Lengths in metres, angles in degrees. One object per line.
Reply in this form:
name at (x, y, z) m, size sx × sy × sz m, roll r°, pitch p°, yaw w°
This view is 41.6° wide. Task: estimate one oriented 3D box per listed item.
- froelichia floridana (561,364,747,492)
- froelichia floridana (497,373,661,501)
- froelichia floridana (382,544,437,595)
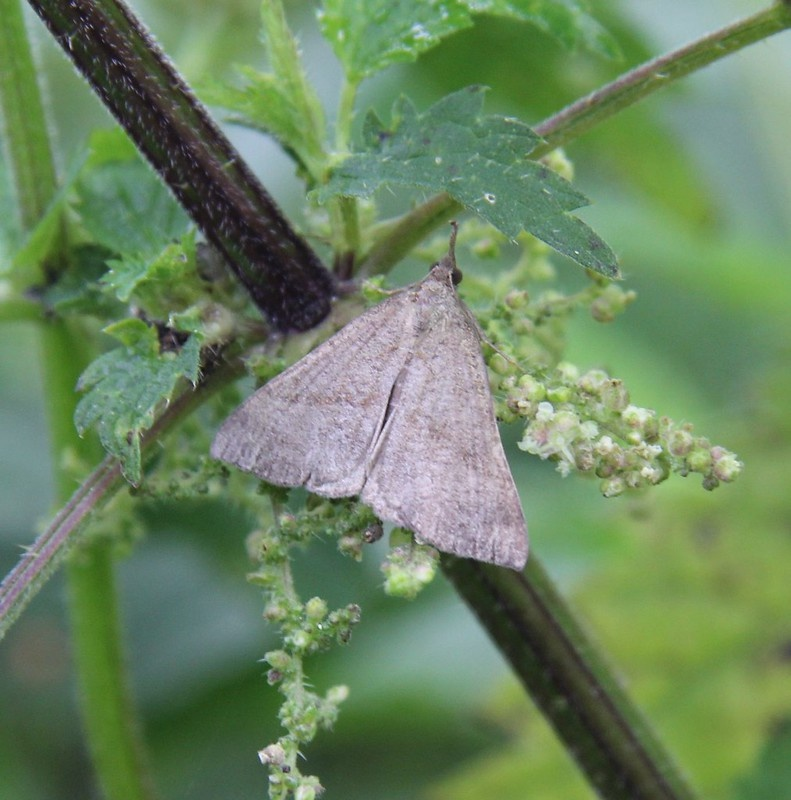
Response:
froelichia floridana at (0.340, 0.059, 1.404) m, size 0.150 × 0.213 × 0.078 m, roll -43°, pitch 11°, yaw -1°
froelichia floridana at (0.253, 0.074, 1.474) m, size 0.165 × 0.186 × 0.075 m, roll -14°, pitch -46°, yaw -39°
froelichia floridana at (0.018, 0.211, 1.345) m, size 0.060 × 0.022 × 0.073 m, roll 7°, pitch 30°, yaw 15°
